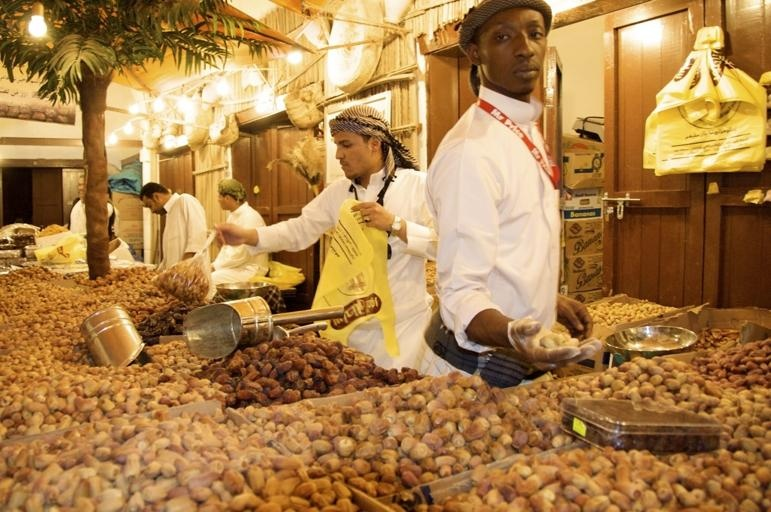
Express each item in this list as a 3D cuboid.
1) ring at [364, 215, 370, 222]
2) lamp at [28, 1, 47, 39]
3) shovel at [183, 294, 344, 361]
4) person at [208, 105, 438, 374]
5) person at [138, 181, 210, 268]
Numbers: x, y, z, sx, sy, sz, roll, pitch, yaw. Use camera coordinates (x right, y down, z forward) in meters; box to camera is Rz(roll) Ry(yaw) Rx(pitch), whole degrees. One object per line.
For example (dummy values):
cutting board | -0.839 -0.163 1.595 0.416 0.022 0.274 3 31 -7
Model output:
ring | -0.103 -0.189 2.828 0.030 0.028 0.010 -25 1 43
lamp | -2.166 -1.437 3.379 0.082 0.196 0.264 -8 10 -28
shovel | -0.505 0.254 2.454 0.692 0.252 0.281 -11 14 -38
person | -0.272 0.061 3.323 1.177 1.731 0.731 1 15 4
person | -2.194 -0.336 5.674 0.578 0.812 0.784 -7 10 -23
